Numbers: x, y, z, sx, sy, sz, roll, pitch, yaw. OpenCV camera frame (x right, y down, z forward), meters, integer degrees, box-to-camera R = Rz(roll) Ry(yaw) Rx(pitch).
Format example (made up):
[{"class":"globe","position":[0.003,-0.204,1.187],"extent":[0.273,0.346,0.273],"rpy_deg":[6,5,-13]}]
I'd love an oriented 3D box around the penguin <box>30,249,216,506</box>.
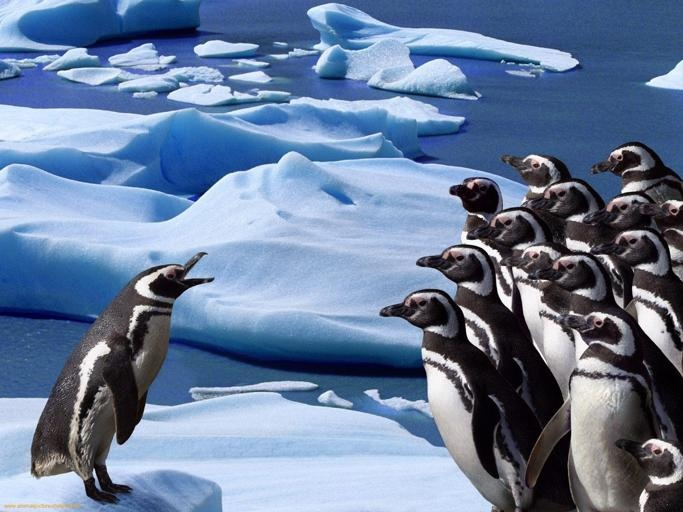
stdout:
[{"class":"penguin","position":[-0.820,0.439,3.593],"extent":[0.334,0.944,0.386],"rpy_deg":[19,9,38]}]
